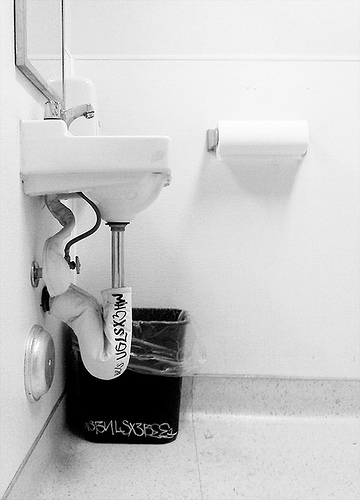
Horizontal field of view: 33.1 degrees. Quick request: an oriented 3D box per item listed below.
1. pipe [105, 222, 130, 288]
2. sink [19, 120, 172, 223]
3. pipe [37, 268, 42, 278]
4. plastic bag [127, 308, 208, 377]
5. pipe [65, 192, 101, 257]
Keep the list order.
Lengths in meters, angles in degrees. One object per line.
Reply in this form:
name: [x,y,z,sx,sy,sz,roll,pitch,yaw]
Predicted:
pipe: [-0.156,0.012,1.520,0.071,0.169,0.067,0,0,26]
sink: [-0.196,-0.177,1.407,0.342,0.240,0.128,3,13,-4]
pipe: [-0.338,0.056,1.460,0.011,0.024,0.020,1,13,-11]
plastic bag: [-0.043,0.277,1.796,0.198,0.164,0.238,3,17,-6]
pipe: [-0.227,-0.066,1.482,0.076,0.151,0.093,0,14,-5]
